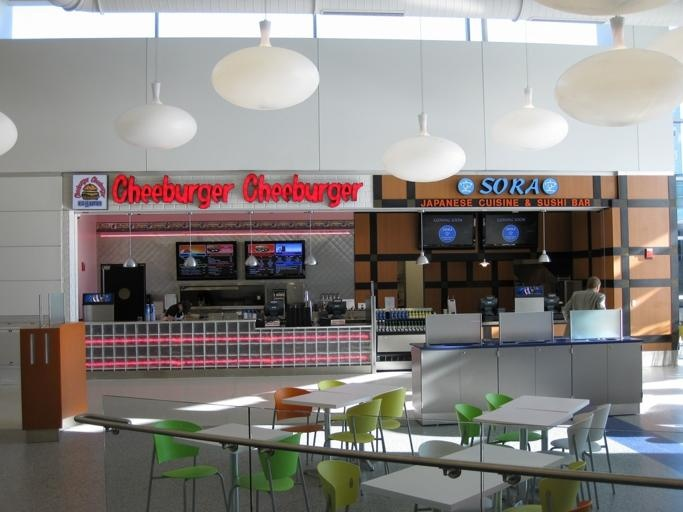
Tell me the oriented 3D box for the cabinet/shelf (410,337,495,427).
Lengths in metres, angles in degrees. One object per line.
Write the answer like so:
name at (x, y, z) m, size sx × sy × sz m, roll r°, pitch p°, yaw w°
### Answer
cabinet/shelf at (1.480, 1.579, 9.758) m, size 1.371 × 1.343 × 0.888 m, roll 0°, pitch -5°, yaw -5°

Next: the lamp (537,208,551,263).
lamp at (3.788, -0.410, 13.468) m, size 0.243 × 1.013 × 1.519 m, roll -3°, pitch -4°, yaw 16°

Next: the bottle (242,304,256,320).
bottle at (-1.572, 0.972, 12.301) m, size 0.265 × 0.127 × 0.389 m, roll 0°, pitch 3°, yaw 0°

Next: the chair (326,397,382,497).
chair at (0.232, 1.796, 7.301) m, size 0.541 × 0.870 × 0.518 m, roll 2°, pitch -1°, yaw 34°

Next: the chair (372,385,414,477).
chair at (0.543, 1.767, 7.473) m, size 0.513 × 0.935 × 0.527 m, roll -1°, pitch -2°, yaw -45°

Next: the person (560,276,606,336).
person at (3.506, 0.688, 10.390) m, size 0.539 × 0.808 × 1.361 m, roll -3°, pitch -4°, yaw 17°

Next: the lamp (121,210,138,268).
lamp at (-4.190, -0.347, 14.201) m, size 0.253 × 1.111 × 1.709 m, roll -1°, pitch -4°, yaw -16°

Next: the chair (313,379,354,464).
chair at (-0.084, 1.706, 7.375) m, size 0.509 × 0.759 × 0.534 m, roll 3°, pitch -10°, yaw -18°

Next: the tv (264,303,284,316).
tv at (-1.138, 0.865, 12.125) m, size 0.313 × 0.300 × 0.217 m, roll 1°, pitch 5°, yaw 5°

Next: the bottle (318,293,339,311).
bottle at (-0.222, 0.799, 12.618) m, size 0.218 × 0.232 × 0.066 m, roll -4°, pitch -18°, yaw 17°

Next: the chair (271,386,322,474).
chair at (-0.564, 1.770, 7.646) m, size 0.550 × 0.901 × 0.591 m, roll 1°, pitch -5°, yaw -29°

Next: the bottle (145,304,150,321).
bottle at (-3.396, 0.966, 12.613) m, size 0.074 × 0.236 × 0.222 m, roll -1°, pitch -4°, yaw -12°

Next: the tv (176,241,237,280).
tv at (-2.772, 0.073, 14.766) m, size 1.253 × 0.819 × 0.110 m, roll -2°, pitch -4°, yaw -1°

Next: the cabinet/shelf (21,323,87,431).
cabinet/shelf at (-3.614, 1.481, 9.006) m, size 0.763 × 1.280 × 0.466 m, roll 0°, pitch -5°, yaw -25°

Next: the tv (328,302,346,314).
tv at (-0.081, 0.860, 12.098) m, size 0.324 × 0.314 × 0.194 m, roll 1°, pitch -1°, yaw -4°

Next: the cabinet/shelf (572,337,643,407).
cabinet/shelf at (3.493, 1.539, 9.473) m, size 0.812 × 0.751 × 0.326 m, roll 0°, pitch -3°, yaw -5°
